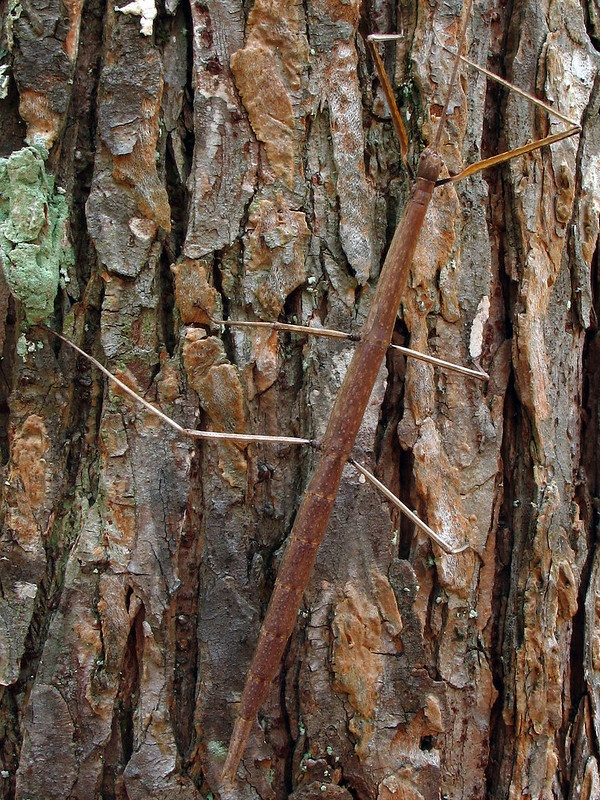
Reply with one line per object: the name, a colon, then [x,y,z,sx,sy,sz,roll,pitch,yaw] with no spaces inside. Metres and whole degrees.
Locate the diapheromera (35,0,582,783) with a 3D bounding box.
diapheromera: [0.147,0.101,6.349,1.063,2.694,0.297,15,0,3]
